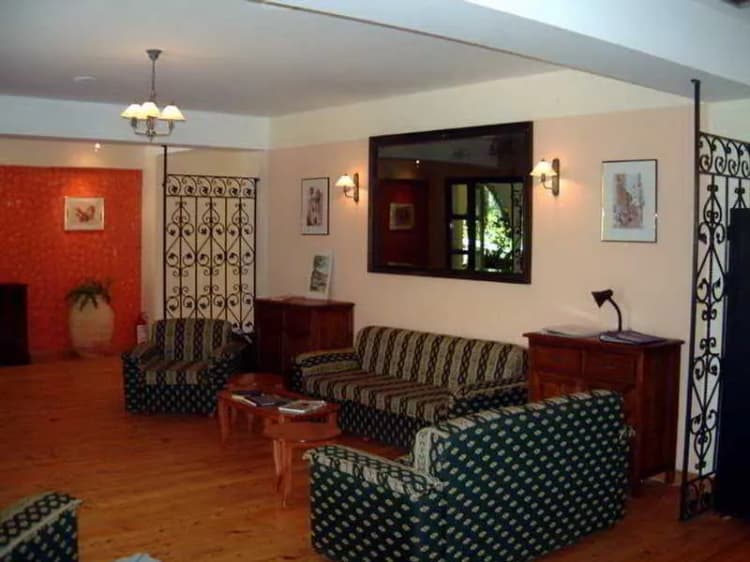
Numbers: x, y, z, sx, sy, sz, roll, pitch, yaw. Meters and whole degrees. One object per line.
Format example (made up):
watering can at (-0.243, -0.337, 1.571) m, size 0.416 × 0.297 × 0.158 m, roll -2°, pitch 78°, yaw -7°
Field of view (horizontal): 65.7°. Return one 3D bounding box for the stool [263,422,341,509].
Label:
stool at (-0.647, 1.451, 4.775) m, size 0.575 × 0.528 × 0.586 m, roll -3°, pitch 5°, yaw -37°

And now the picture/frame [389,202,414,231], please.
picture/frame at (0.317, -0.769, 6.850) m, size 0.303 × 0.324 × 0.012 m, roll 9°, pitch 12°, yaw 41°

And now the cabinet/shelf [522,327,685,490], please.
cabinet/shelf at (1.982, 1.135, 5.186) m, size 0.650 × 1.228 × 1.161 m, roll 0°, pitch 1°, yaw -37°

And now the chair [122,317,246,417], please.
chair at (-2.359, 1.042, 7.214) m, size 1.337 × 1.073 × 0.778 m, roll 0°, pitch 6°, yaw -2°

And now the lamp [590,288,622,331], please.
lamp at (2.075, 0.250, 5.182) m, size 0.251 × 0.355 × 0.369 m, roll 2°, pitch 5°, yaw 23°

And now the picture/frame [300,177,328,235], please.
picture/frame at (-0.831, -1.046, 7.946) m, size 0.037 × 1.102 × 0.759 m, roll 2°, pitch 1°, yaw -44°

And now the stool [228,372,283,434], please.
stool at (-1.285, 1.340, 6.246) m, size 0.606 × 0.557 × 0.610 m, roll 2°, pitch 6°, yaw 22°

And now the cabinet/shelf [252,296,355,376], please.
cabinet/shelf at (-1.015, 0.784, 7.620) m, size 1.143 × 1.112 × 0.562 m, roll 6°, pitch 5°, yaw 39°

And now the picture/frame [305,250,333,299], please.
picture/frame at (-0.754, -0.085, 7.857) m, size 0.591 × 0.856 × 0.039 m, roll 4°, pitch -7°, yaw 45°

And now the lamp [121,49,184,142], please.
lamp at (-2.082, -1.752, 5.420) m, size 0.584 × 0.900 × 0.599 m, roll 5°, pitch 6°, yaw 21°

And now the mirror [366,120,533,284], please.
mirror at (0.733, -0.852, 6.479) m, size 2.317 × 1.741 × 0.105 m, roll 6°, pitch 9°, yaw 43°

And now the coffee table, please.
coffee table at (-1.044, 1.329, 5.585) m, size 1.253 × 0.431 × 0.473 m, roll 0°, pitch -18°, yaw 8°

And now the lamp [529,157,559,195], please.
lamp at (1.626, -1.018, 5.587) m, size 0.317 × 0.376 × 0.315 m, roll 1°, pitch 0°, yaw -39°

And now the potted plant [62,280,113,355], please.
potted plant at (-4.845, 0.623, 9.857) m, size 0.669 × 1.303 × 0.332 m, roll -2°, pitch 4°, yaw -31°

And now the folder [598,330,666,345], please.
folder at (2.173, 0.464, 4.897) m, size 0.470 × 0.063 × 0.495 m, roll 3°, pitch 6°, yaw 36°

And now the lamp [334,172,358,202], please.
lamp at (-0.325, -1.195, 7.450) m, size 0.328 × 0.435 × 0.358 m, roll -2°, pitch 3°, yaw -43°
